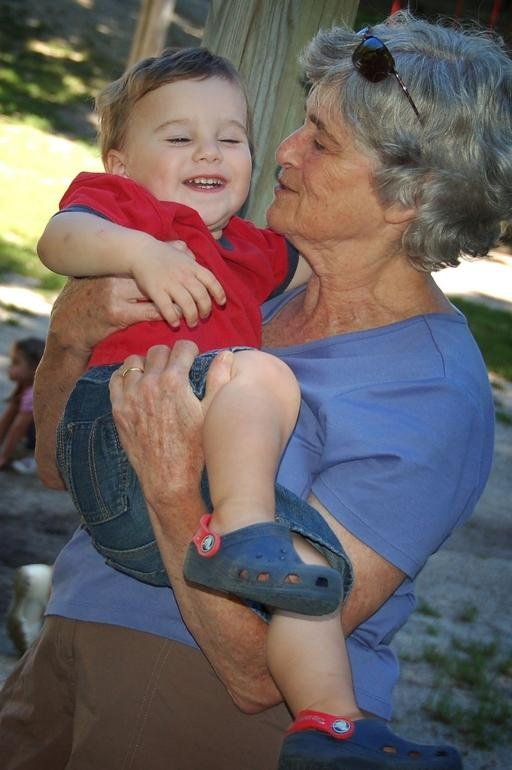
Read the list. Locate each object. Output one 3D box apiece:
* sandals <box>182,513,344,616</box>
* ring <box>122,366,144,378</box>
[{"bbox_3d":[0.010,0.311,1.436,0.320,0.127,0.131,6,-16,33],"label":"sandals"},{"bbox_3d":[-0.268,-0.029,1.748,0.045,0.025,0.051,2,10,-9],"label":"ring"}]
